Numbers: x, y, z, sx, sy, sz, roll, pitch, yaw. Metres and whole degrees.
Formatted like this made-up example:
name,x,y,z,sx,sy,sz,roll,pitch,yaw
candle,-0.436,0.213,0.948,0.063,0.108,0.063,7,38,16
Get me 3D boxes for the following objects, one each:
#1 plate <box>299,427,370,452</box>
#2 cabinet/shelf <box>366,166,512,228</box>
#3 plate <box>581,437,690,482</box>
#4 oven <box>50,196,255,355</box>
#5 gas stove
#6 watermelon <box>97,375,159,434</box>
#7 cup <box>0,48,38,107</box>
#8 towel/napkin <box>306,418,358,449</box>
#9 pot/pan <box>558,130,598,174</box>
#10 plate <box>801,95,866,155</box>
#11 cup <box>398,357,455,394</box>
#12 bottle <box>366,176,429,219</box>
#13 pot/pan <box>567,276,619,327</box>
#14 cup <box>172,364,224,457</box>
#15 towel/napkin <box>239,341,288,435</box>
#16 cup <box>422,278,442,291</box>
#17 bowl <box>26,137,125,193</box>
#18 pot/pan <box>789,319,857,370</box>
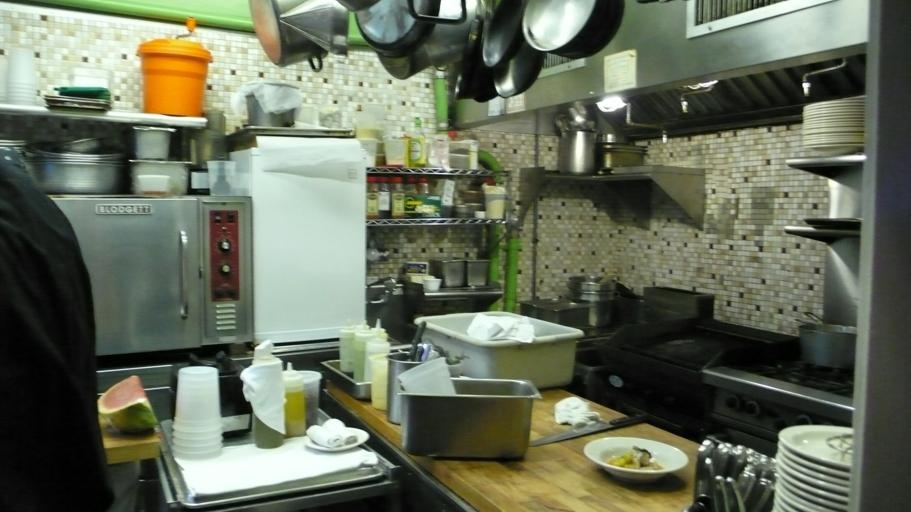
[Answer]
name,x,y,z,sx,sy,sz,roll,pitch,yaw
plate,-0.531,0.812,3.103,0.271,0.101,0.115,-3,4,-16
cabinet/shelf,-0.117,-0.445,5.064,1.294,0.384,0.211,3,4,37
plate,0.739,0.827,2.865,0.245,0.054,0.234,0,7,1
oven,-1.978,0.130,4.113,0.764,0.897,1.301,-3,-2,29
gas stove,1.778,0.802,3.674,0.739,0.301,0.558,3,7,43
watermelon,-1.458,0.653,3.052,0.237,0.132,0.352,-3,14,-24
cup,-2.526,-1.038,4.001,0.164,0.327,0.089,-6,6,-33
towel/napkin,-0.552,0.798,3.086,0.145,0.042,0.140,-3,6,-41
pot/pan,0.900,-0.776,5.197,0.356,0.301,0.313,1,6,5
plate,2.023,-0.679,3.634,0.181,0.299,0.347,-4,5,-20
cup,-0.127,0.515,3.007,0.222,0.177,0.152,5,-12,-15
bottle,-0.406,-0.421,4.973,0.516,0.309,0.255,-3,5,-16
pot/pan,1.028,0.339,5.185,0.415,0.283,0.368,0,2,-6
cup,-1.133,0.678,3.006,0.203,0.393,0.087,-4,5,-15
towel/napkin,-0.861,0.593,3.091,0.186,0.434,0.145,-4,5,-13
cup,-0.173,0.203,4.886,0.103,0.060,0.106,1,-7,0
bowl,-2.155,-0.500,3.928,0.417,0.204,0.371,0,2,-13
pot/pan,2.123,0.482,3.882,0.350,0.151,0.312,-1,7,6
